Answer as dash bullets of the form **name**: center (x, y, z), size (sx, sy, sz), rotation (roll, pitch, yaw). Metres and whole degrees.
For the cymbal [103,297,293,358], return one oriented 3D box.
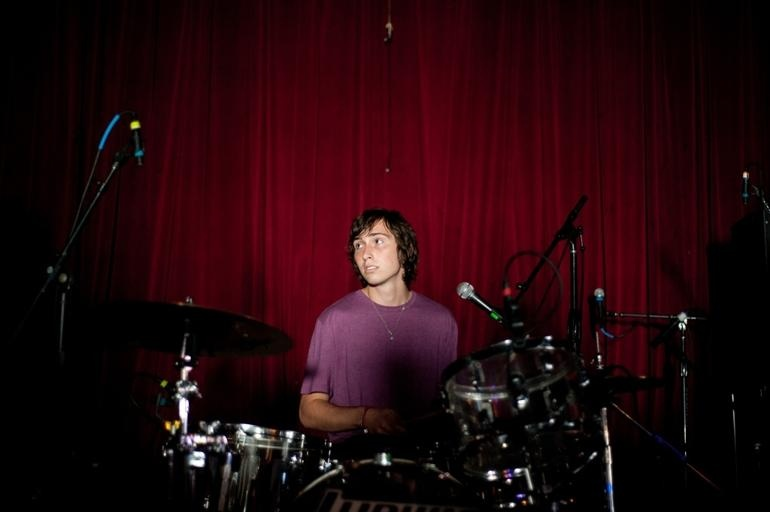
- **cymbal**: center (-1.128, 0.465, 3.772), size (0.629, 0.164, 0.684), rotation (11, -23, 1)

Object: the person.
- **person**: center (0.004, 0.482, 3.979), size (1.029, 1.592, 0.911), rotation (-3, 5, -10)

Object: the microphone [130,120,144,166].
- **microphone**: center (-1.656, -0.779, 4.047), size (0.074, 0.372, 0.074), rotation (-5, -9, -12)

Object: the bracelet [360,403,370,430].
- **bracelet**: center (-0.116, 0.924, 3.487), size (0.081, 0.101, 0.101), rotation (0, -19, -1)
